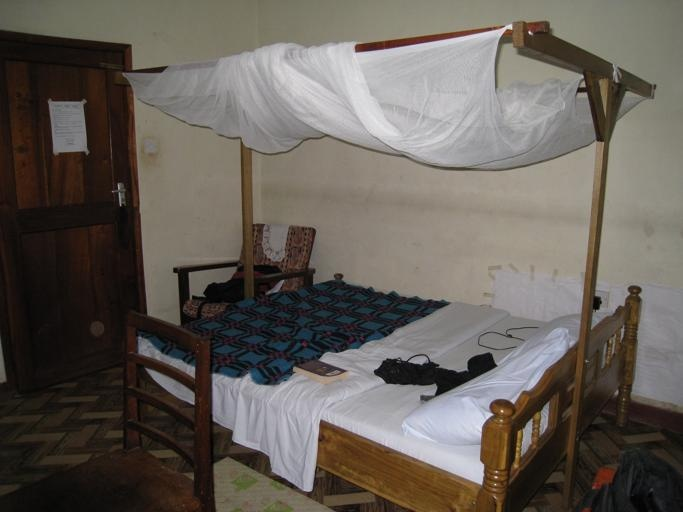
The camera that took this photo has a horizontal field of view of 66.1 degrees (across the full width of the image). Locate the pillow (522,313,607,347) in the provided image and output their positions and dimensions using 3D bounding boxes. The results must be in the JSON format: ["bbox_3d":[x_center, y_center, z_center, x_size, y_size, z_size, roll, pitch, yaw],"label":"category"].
[{"bbox_3d":[1.206,0.443,3.011,0.294,0.081,0.231,-1,7,2],"label":"pillow"}]

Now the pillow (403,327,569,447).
[{"bbox_3d":[0.759,0.654,2.605,0.875,0.398,0.355,-9,16,-27],"label":"pillow"}]

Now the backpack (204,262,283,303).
[{"bbox_3d":[-0.884,0.276,4.637,0.351,0.178,0.468,8,17,38],"label":"backpack"}]
